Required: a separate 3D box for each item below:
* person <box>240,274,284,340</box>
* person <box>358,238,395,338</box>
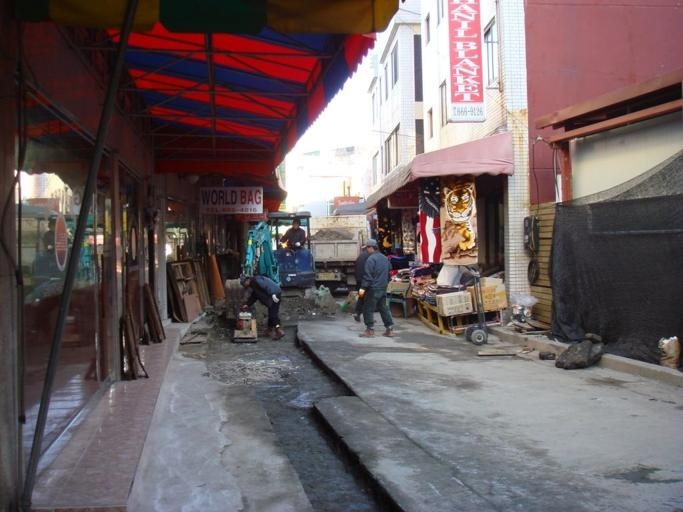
[{"bbox_3d":[-1.781,1.161,12.176,0.867,1.424,0.692,-1,-3,-7],"label":"person"},{"bbox_3d":[0.793,0.682,11.964,0.688,2.179,1.074,-1,-3,3],"label":"person"}]
